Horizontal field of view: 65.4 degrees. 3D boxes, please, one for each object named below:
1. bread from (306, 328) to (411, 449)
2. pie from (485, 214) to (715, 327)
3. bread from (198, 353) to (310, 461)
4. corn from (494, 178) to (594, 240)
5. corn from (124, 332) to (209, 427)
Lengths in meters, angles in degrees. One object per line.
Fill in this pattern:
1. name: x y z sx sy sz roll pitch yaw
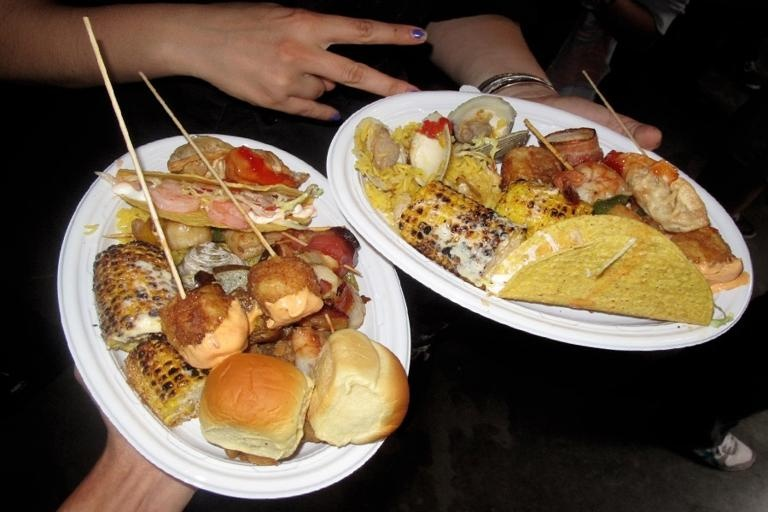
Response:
1. bread: -0.134 0.663 3.035 0.499 0.291 0.531 2 60 -7
2. pie: 1.182 0.060 3.227 1.230 0.360 0.451 8 60 -3
3. bread: -0.647 0.730 2.951 0.517 0.274 0.434 11 60 -1
4. corn: 0.878 -0.267 3.273 0.461 0.172 0.255 12 77 17
5. corn: -1.127 0.627 3.041 0.455 0.184 0.304 41 64 15
